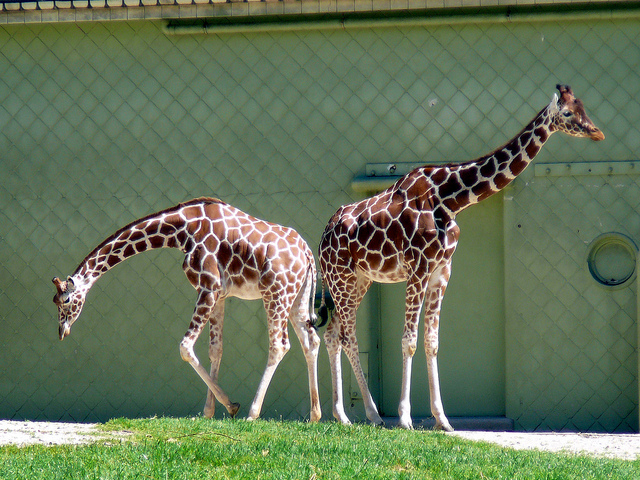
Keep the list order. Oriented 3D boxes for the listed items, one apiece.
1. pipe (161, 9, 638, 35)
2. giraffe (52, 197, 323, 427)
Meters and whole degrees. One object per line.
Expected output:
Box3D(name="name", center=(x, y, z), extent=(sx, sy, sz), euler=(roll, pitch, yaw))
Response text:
Box3D(name="pipe", center=(0.735, -2.225, 14.278), extent=(4.590, 0.138, 0.110), euler=(-1, -22, 4))
Box3D(name="giraffe", center=(-1.290, 0.695, 13.781), extent=(2.670, 2.548, 1.540), euler=(1, -21, -1))
